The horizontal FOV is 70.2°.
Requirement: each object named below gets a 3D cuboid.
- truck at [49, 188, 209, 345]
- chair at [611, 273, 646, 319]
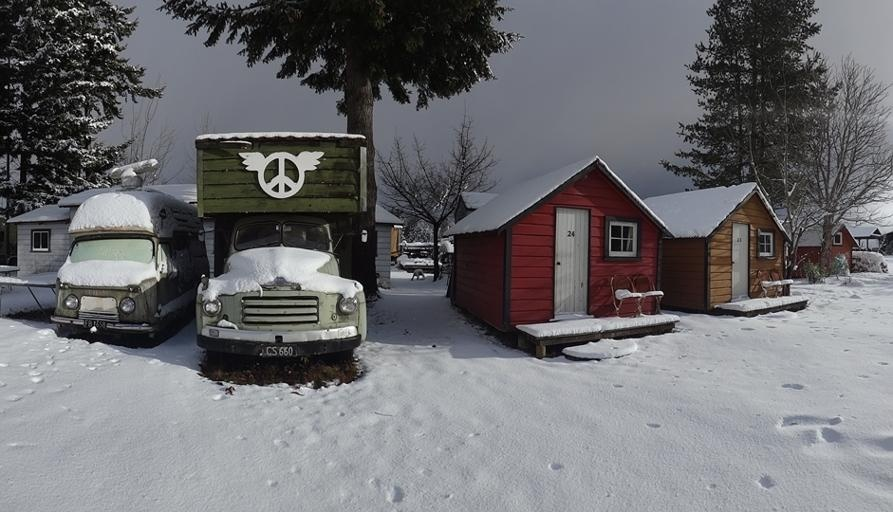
[{"bbox_3d":[-11.325,0.236,22.927,4.487,5.254,2.271,1,-2,-30],"label":"truck"},{"bbox_3d":[7.075,1.576,24.696,1.370,1.587,0.667,1,-1,-18],"label":"chair"}]
